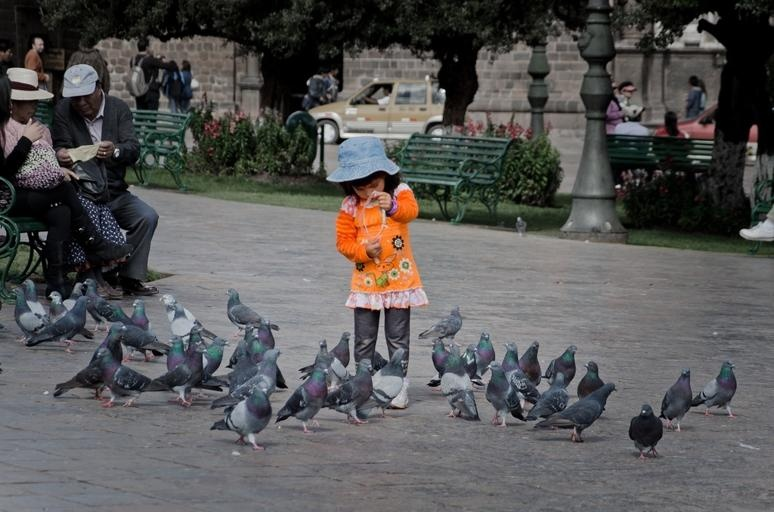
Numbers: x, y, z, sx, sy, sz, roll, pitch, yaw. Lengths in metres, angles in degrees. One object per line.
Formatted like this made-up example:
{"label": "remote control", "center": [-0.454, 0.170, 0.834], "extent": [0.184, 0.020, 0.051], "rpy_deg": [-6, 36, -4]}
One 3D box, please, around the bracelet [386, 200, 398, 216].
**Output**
{"label": "bracelet", "center": [0.051, -0.557, 20.443], "extent": [0.142, 0.186, 0.078], "rpy_deg": [0, 4, 0]}

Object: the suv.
{"label": "suv", "center": [-0.200, -3.839, 47.975], "extent": [3.609, 1.775, 2.133], "rpy_deg": [4, 9, 15]}

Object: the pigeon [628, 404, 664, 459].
{"label": "pigeon", "center": [2.914, 1.944, 19.540], "extent": [0.397, 0.602, 0.309], "rpy_deg": [0, 4, -5]}

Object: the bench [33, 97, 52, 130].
{"label": "bench", "center": [-4.734, -1.950, 24.041], "extent": [0.353, 0.523, 0.359], "rpy_deg": [-2, 11, -21]}

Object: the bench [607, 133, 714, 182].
{"label": "bench", "center": [5.045, -1.881, 32.560], "extent": [1.982, 0.683, 1.744], "rpy_deg": [2, 5, 24]}

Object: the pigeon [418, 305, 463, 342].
{"label": "pigeon", "center": [0.711, 0.867, 21.847], "extent": [0.689, 0.453, 0.279], "rpy_deg": [-4, 6, -36]}

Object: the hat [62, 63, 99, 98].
{"label": "hat", "center": [-4.068, -2.292, 23.037], "extent": [0.469, 0.440, 0.281], "rpy_deg": [-1, 4, -10]}

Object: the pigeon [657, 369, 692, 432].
{"label": "pigeon", "center": [3.345, 1.637, 20.157], "extent": [0.369, 0.723, 0.378], "rpy_deg": [1, 4, 11]}

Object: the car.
{"label": "car", "center": [7.517, -2.782, 40.769], "extent": [2.214, 1.149, 1.472], "rpy_deg": [4, 7, 11]}

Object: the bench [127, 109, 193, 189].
{"label": "bench", "center": [-4.182, -1.900, 31.817], "extent": [0.672, 1.044, 1.829], "rpy_deg": [-5, 6, -43]}

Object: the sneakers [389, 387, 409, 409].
{"label": "sneakers", "center": [0.172, 1.676, 20.422], "extent": [0.171, 0.249, 0.243], "rpy_deg": [2, -9, -30]}

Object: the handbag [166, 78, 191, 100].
{"label": "handbag", "center": [-5.004, -3.937, 41.509], "extent": [0.263, 0.507, 0.510], "rpy_deg": [-4, 0, 37]}
